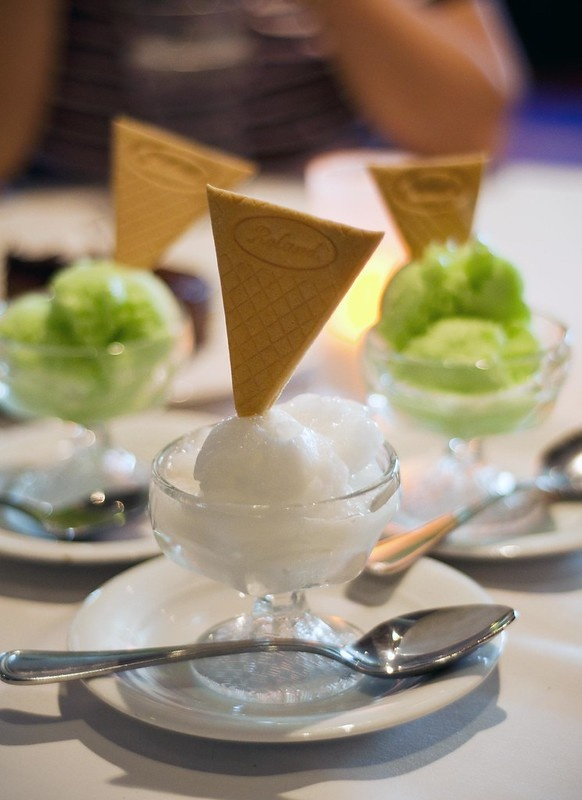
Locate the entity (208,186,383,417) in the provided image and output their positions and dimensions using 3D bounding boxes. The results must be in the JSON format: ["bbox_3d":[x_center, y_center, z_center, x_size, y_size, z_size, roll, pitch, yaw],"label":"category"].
[{"bbox_3d":[0.004,-0.068,0.610,0.114,0.140,0.112,-3,43,-4],"label":"entity"}]

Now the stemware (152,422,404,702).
[{"bbox_3d":[-0.003,0.134,0.673,0.206,0.134,0.182,2,4,16],"label":"stemware"}]

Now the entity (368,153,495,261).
[{"bbox_3d":[0.149,-0.208,0.900,0.150,0.112,0.110,-4,25,-3],"label":"entity"}]
